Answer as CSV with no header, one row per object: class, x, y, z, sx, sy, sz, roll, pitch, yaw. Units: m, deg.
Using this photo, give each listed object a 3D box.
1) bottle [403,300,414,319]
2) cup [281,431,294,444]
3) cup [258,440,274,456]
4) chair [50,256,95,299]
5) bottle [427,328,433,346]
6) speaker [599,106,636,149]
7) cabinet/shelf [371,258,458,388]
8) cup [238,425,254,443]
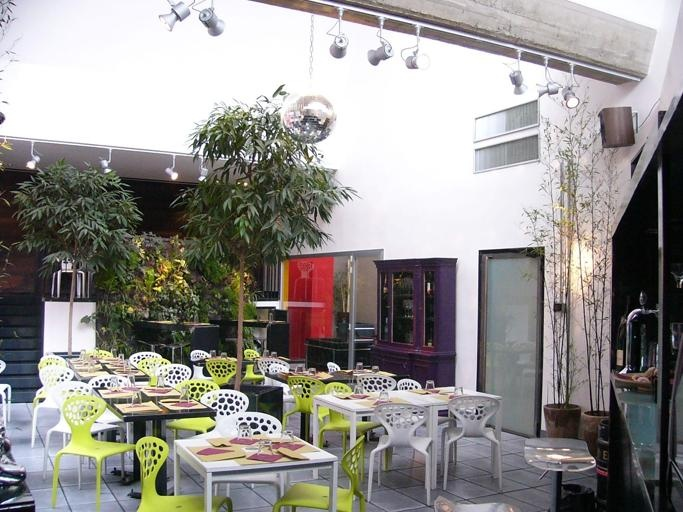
bottle,1.207,0.956,9.805,0.223,0.393,0.234,-1,-5,0
cup,-0.439,1.459,4.450,0.100,0.104,0.105,1,-7,0
cup,-0.606,1.506,4.298,0.080,0.082,0.082,0,-8,0
chair,-5.765,0.471,12.020,0.849,1.206,0.825,4,-6,-33
bottle,1.521,1.432,9.409,0.018,0.239,0.161,6,-8,-39
speaker,3.533,-1.626,7.248,0.452,0.533,0.483,-1,-10,2
cabinet/shelf,1.331,1.187,9.504,0.587,2.651,1.871,4,-6,-33
cup,-0.805,1.492,4.593,0.105,0.143,0.101,-2,-4,0
